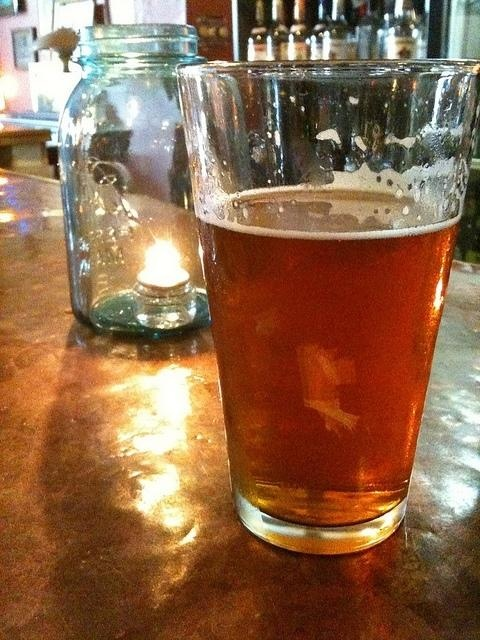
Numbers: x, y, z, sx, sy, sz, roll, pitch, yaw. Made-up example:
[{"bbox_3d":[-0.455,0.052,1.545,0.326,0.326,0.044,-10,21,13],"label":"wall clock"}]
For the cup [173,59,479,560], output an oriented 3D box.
[{"bbox_3d":[0.040,-0.001,0.250,0.140,0.226,0.091,-1,13,1],"label":"cup"}]
